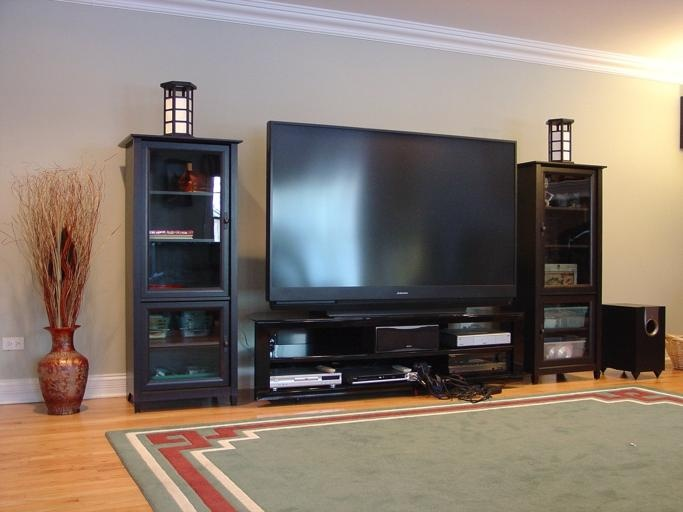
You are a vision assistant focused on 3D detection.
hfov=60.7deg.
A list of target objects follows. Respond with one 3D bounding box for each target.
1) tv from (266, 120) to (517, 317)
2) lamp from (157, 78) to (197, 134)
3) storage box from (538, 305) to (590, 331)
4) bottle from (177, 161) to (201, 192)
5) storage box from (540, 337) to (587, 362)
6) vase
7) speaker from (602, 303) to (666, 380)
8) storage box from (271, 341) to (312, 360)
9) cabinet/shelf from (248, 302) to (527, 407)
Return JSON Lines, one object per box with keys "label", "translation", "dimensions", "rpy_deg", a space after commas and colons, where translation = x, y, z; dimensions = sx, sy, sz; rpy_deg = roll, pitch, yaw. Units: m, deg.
{"label": "tv", "translation": [0.329, -0.255, 4.380], "dimensions": [1.887, 1.036, 0.166], "rpy_deg": [1, -4, -22]}
{"label": "lamp", "translation": [-1.124, -0.992, 3.981], "dimensions": [0.261, 0.323, 0.246], "rpy_deg": [6, 11, 2]}
{"label": "storage box", "translation": [1.870, 0.511, 4.823], "dimensions": [0.333, 0.105, 0.208], "rpy_deg": [0, -2, -20]}
{"label": "bottle", "translation": [-1.028, -0.520, 3.967], "dimensions": [0.140, 0.191, 0.212], "rpy_deg": [0, 14, -23]}
{"label": "storage box", "translation": [1.853, 0.766, 4.830], "dimensions": [0.310, 0.089, 0.194], "rpy_deg": [0, -4, -7]}
{"label": "vase", "translation": [-1.826, 0.745, 3.842], "dimensions": [0.287, 0.565, 0.192], "rpy_deg": [0, 2, -23]}
{"label": "speaker", "translation": [2.514, 0.724, 5.016], "dimensions": [0.511, 0.607, 0.332], "rpy_deg": [1, 2, 19]}
{"label": "storage box", "translation": [-0.361, 0.667, 4.116], "dimensions": [0.254, 0.107, 0.053], "rpy_deg": [4, 5, -15]}
{"label": "cabinet/shelf", "translation": [0.384, 0.700, 4.412], "dimensions": [1.990, 0.498, 0.511], "rpy_deg": [-3, 2, -4]}
